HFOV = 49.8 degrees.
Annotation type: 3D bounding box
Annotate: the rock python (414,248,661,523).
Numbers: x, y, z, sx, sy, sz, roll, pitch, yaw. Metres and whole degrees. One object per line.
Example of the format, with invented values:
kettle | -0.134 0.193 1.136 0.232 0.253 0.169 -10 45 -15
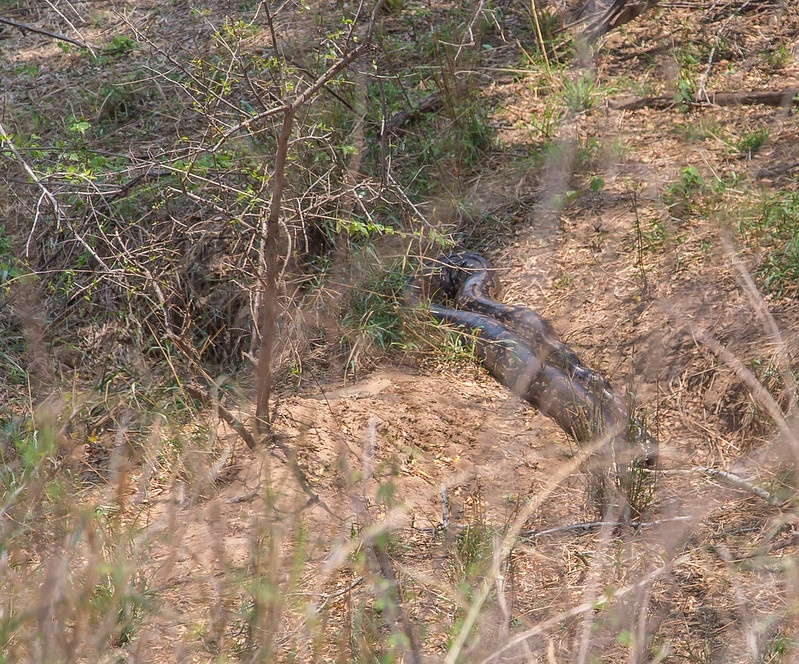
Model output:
rock python | 1.066 0.163 7.138 0.859 0.364 3.346 -17 33 -17
